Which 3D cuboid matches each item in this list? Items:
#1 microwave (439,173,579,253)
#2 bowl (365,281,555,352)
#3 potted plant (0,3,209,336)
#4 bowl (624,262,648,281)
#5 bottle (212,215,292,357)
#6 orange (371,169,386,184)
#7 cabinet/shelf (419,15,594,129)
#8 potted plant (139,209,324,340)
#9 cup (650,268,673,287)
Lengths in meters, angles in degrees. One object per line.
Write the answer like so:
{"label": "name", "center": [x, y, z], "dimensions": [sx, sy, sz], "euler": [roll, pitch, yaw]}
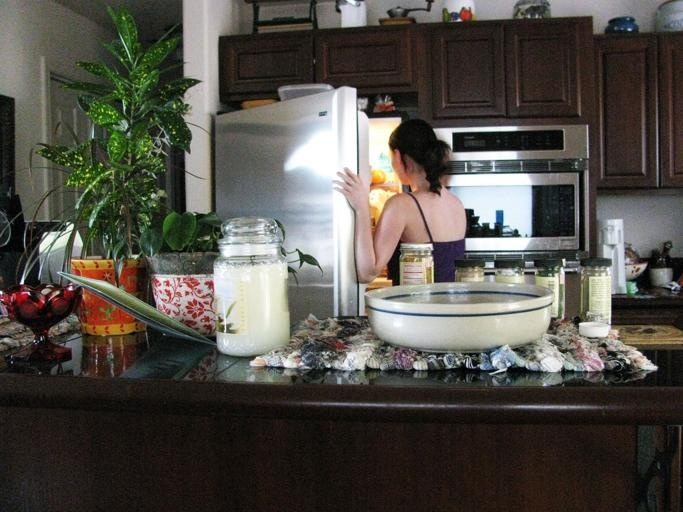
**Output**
{"label": "microwave", "center": [0.926, -0.237, 3.286], "dimensions": [0.769, 0.445, 0.397], "euler": [0, 0, 8]}
{"label": "bowl", "center": [0.193, 0.103, 1.098], "dimensions": [0.296, 0.096, 0.226], "euler": [-3, 5, -17]}
{"label": "potted plant", "center": [-0.489, -0.129, 1.346], "dimensions": [0.292, 0.541, 0.306], "euler": [6, -5, 13]}
{"label": "bowl", "center": [1.616, 0.087, 3.509], "dimensions": [0.079, 0.105, 0.145], "euler": [3, 6, 38]}
{"label": "bottle", "center": [-0.163, 0.050, 1.147], "dimensions": [0.136, 0.241, 0.167], "euler": [-2, 5, -11]}
{"label": "orange", "center": [0.198, -0.432, 3.469], "dimensions": [0.085, 0.078, 0.076], "euler": [0, 40, 12]}
{"label": "cabinet/shelf", "center": [0.872, -0.946, 3.497], "dimensions": [0.938, 0.521, 0.454], "euler": [0, -2, 5]}
{"label": "potted plant", "center": [-0.195, 0.050, 1.412], "dimensions": [0.246, 0.229, 0.357], "euler": [-4, 4, 13]}
{"label": "cup", "center": [1.814, 0.120, 3.611], "dimensions": [0.106, 0.098, 0.120], "euler": [1, -8, 12]}
